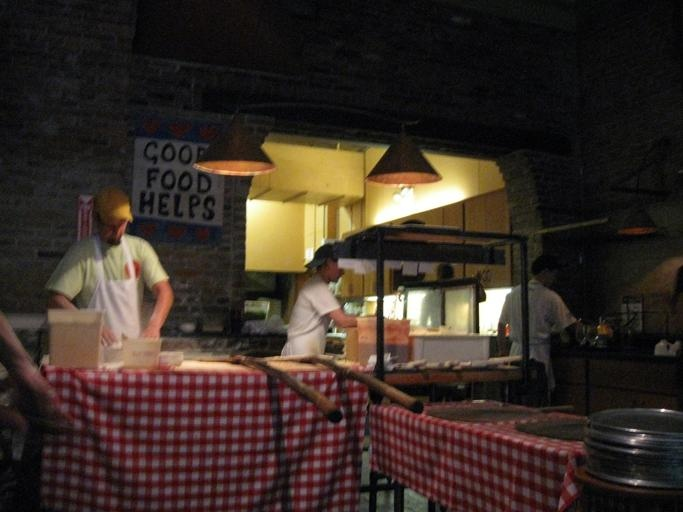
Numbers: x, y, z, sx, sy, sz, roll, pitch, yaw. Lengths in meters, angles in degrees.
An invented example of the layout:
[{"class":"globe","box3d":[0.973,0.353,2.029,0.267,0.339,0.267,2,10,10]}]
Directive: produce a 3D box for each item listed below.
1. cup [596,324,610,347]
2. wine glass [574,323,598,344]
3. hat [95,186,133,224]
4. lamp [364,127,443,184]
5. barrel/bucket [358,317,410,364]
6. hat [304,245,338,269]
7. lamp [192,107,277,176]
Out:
[{"class":"cup","box3d":[2.136,0.643,5.698,0.110,0.190,0.304,2,-4,23]},{"class":"wine glass","box3d":[1.963,0.610,5.661,0.173,0.168,0.177,-1,13,7]},{"class":"hat","box3d":[-1.337,-0.287,4.061,0.161,0.226,0.216,-8,12,-39]},{"class":"lamp","box3d":[0.444,-0.714,5.109,0.574,0.357,0.575,0,-6,6]},{"class":"barrel/bucket","box3d":[0.225,0.458,3.773,0.299,0.252,0.206,3,-3,6]},{"class":"hat","box3d":[-0.125,0.009,4.183,0.179,0.099,0.130,-5,-4,-5]},{"class":"lamp","box3d":[-0.706,-0.712,4.604,0.434,0.310,0.444,2,5,-11]}]
